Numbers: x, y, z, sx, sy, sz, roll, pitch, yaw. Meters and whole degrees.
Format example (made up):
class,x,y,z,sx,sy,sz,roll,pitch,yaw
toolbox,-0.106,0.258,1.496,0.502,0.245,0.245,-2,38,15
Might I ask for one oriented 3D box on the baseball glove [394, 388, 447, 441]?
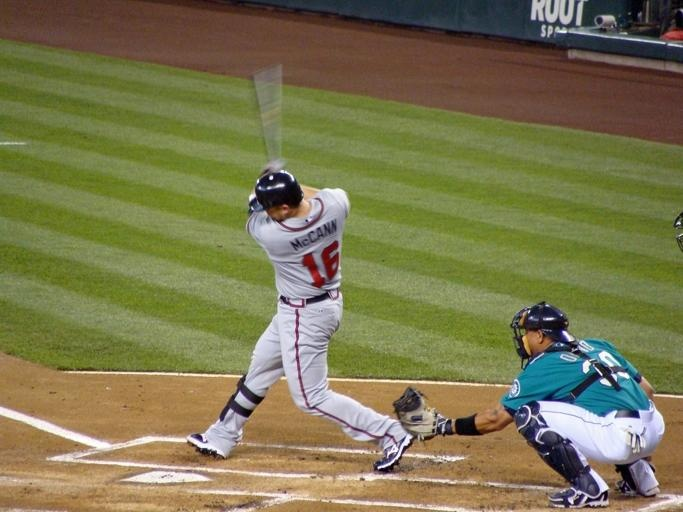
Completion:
class,x,y,z,sx,sy,sz,roll,pitch,yaw
baseball glove,0.959,2.003,20.676,0.775,0.477,0.366,31,-7,8

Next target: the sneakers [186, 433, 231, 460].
class,x,y,z,sx,sy,sz,roll,pitch,yaw
sneakers,-1.640,2.386,20.850,0.631,0.267,0.243,21,-20,-2

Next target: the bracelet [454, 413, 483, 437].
class,x,y,z,sx,sy,sz,roll,pitch,yaw
bracelet,1.552,2.088,20.289,0.342,0.238,0.297,-7,18,10

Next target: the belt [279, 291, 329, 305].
class,x,y,z,sx,sy,sz,roll,pitch,yaw
belt,-0.450,0.521,20.464,0.615,0.209,0.115,7,16,1

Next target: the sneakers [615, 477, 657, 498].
class,x,y,z,sx,sy,sz,roll,pitch,yaw
sneakers,3.552,2.839,20.223,0.510,0.210,0.181,0,2,23

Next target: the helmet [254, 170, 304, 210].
class,x,y,z,sx,sy,sz,roll,pitch,yaw
helmet,-0.752,-0.807,20.241,0.561,0.280,0.392,7,52,21

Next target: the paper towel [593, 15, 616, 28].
class,x,y,z,sx,sy,sz,roll,pitch,yaw
paper towel,4.630,-4.108,28.796,0.382,0.179,0.222,-3,4,-43
